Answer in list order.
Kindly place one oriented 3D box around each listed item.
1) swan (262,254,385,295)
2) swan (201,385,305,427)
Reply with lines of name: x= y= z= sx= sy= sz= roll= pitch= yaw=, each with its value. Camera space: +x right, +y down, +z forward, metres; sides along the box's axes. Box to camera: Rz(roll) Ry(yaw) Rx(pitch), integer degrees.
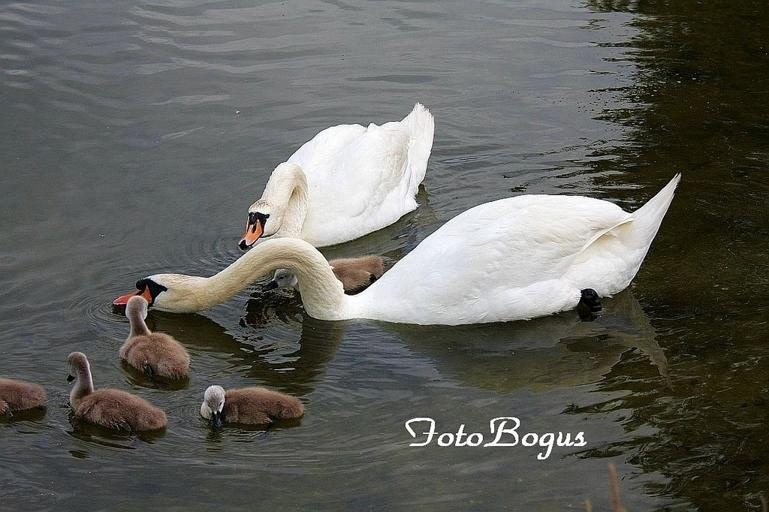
swan: x=-0.958 y=0.296 z=12.826 sx=2.079 sy=1.493 sz=0.474 roll=0 pitch=84 yaw=-24
swan: x=-1.530 y=1.708 z=9.789 sx=1.221 sy=0.480 sz=0.479 roll=0 pitch=47 yaw=-5
